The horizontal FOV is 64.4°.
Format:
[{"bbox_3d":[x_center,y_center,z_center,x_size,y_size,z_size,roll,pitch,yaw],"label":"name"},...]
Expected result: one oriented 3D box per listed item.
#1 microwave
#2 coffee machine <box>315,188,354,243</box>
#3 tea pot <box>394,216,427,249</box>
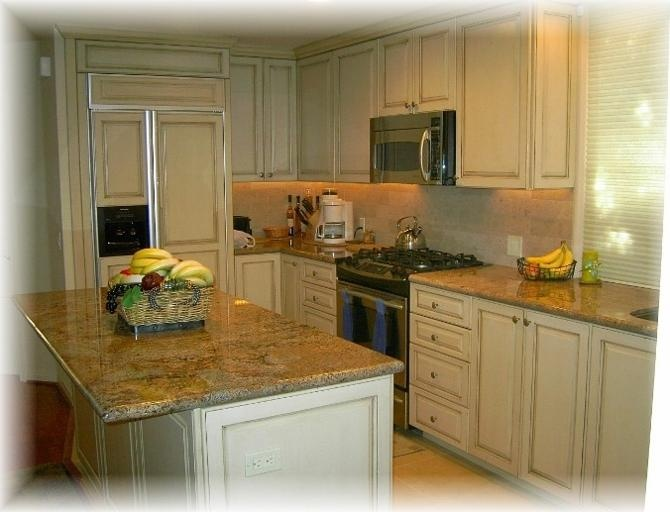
[{"bbox_3d":[0.582,-0.795,3.843,0.391,0.412,0.691,-2,6,-34],"label":"microwave"},{"bbox_3d":[-0.014,-0.397,4.910,0.338,0.481,0.301,-3,15,-23],"label":"coffee machine"},{"bbox_3d":[0.600,-0.182,4.303,0.229,0.294,0.284,0,0,-16],"label":"tea pot"}]
